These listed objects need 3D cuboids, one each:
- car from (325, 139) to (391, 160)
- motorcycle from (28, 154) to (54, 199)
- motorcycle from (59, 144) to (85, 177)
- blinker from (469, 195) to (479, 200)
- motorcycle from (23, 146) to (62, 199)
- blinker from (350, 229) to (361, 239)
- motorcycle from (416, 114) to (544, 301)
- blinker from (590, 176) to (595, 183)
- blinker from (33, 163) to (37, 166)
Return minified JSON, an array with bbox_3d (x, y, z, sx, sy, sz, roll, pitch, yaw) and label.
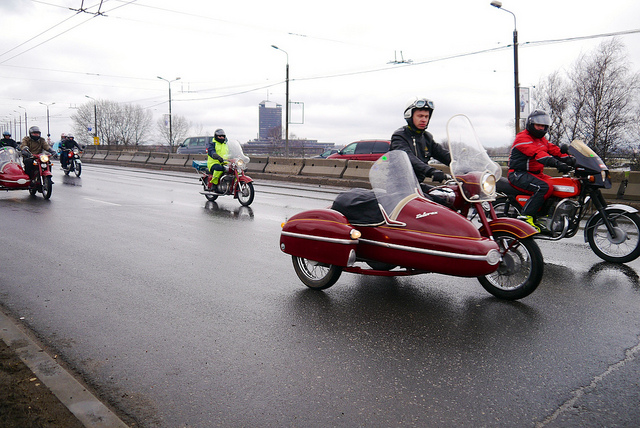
[{"bbox_3d":[2.018,-3.563,24.394,1.929,1.222,3.642,-9,17,-33],"label":"car"},{"bbox_3d":[-9.111,-1.231,14.480,0.705,1.338,1.412,-9,17,-30],"label":"motorcycle"},{"bbox_3d":[-12.858,-2.793,23.585,1.085,1.219,1.950,-2,7,-37],"label":"motorcycle"},{"bbox_3d":[1.946,-0.217,5.633,0.104,0.062,0.038,1,15,3],"label":"blinker"},{"bbox_3d":[-9.000,-1.236,14.442,0.571,1.342,1.244,-13,20,-41],"label":"motorcycle"},{"bbox_3d":[0.460,0.257,5.747,0.094,0.087,0.120,3,-2,-38],"label":"blinker"},{"bbox_3d":[2.179,-0.063,5.900,1.545,2.382,0.991,4,16,14],"label":"motorcycle"},{"bbox_3d":[4.562,-0.584,7.472,0.093,0.089,0.069,4,-5,33],"label":"blinker"},{"bbox_3d":[-9.173,-1.608,14.387,0.140,0.088,0.047,3,15,8],"label":"blinker"}]
